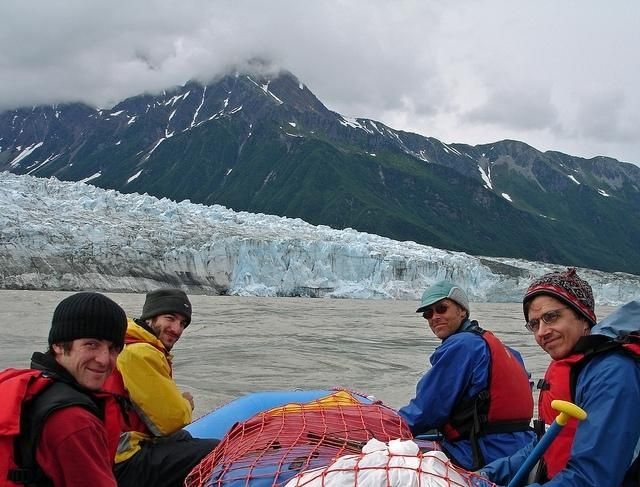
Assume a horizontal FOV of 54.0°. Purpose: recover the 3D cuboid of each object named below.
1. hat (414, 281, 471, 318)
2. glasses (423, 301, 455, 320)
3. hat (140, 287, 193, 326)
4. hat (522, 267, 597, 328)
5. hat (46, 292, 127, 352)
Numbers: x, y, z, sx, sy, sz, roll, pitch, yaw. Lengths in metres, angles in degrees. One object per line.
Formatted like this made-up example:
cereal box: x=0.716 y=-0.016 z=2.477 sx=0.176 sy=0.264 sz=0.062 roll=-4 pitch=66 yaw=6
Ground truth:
hat: x=0.889 y=0.365 z=4.772 sx=0.427 sy=0.182 sz=0.306 roll=12 pitch=-17 yaw=-44
glasses: x=0.906 y=0.489 z=4.725 sx=0.163 sy=0.045 sz=0.174 roll=-30 pitch=-22 yaw=35
hat: x=-1.169 y=0.465 z=4.686 sx=0.410 sy=0.233 sz=0.321 roll=2 pitch=-21 yaw=-3
hat: x=1.399 y=0.301 z=3.596 sx=0.342 sy=0.314 sz=0.401 roll=-17 pitch=-23 yaw=42
hat: x=-1.148 y=0.406 z=3.276 sx=0.365 sy=0.236 sz=0.331 roll=4 pitch=-5 yaw=31
